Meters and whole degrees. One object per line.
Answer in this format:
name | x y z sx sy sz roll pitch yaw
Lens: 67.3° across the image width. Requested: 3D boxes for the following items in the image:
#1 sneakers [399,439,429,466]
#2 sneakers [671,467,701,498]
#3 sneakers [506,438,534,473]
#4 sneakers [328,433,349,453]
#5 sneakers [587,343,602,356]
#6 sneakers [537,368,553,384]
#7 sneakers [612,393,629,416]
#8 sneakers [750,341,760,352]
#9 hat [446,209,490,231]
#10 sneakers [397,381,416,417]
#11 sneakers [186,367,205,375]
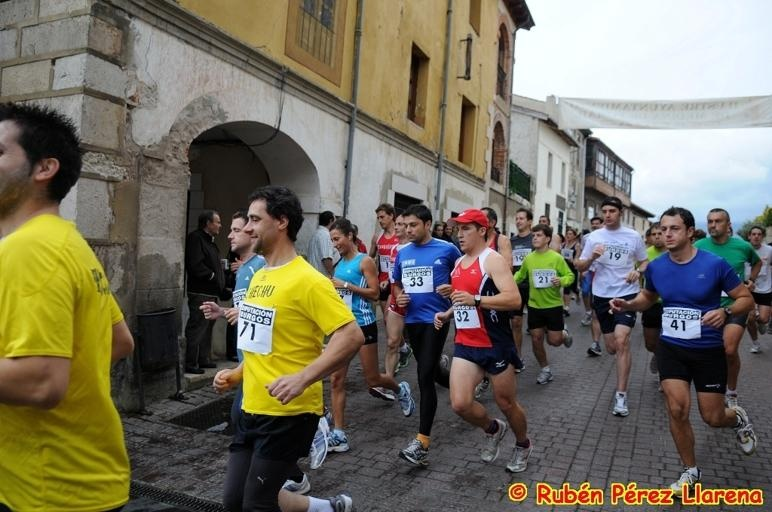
sneakers | 0.257 1.865 5.513 0.150 0.192 0.369 -4 -29 41
sneakers | 2.640 1.974 5.105 0.382 0.194 0.132 -8 3 -29
sneakers | 1.281 1.917 5.578 0.146 0.196 0.384 -8 11 37
sneakers | -0.480 1.875 5.781 0.266 0.128 0.105 6 -9 -14
sneakers | 3.677 1.652 10.195 0.136 0.186 0.371 -9 -24 33
sneakers | 2.303 1.746 8.436 0.138 0.170 0.372 -7 -6 37
sneakers | 2.813 1.811 6.964 0.129 0.149 0.345 -4 -6 24
sneakers | 6.870 1.695 10.797 0.126 0.160 0.343 -4 2 8
hat | 0.821 -0.383 5.681 0.344 0.180 0.227 4 -3 0
sneakers | 0.234 1.712 6.870 0.147 0.469 0.205 -12 0 33
sneakers | -2.540 1.542 7.774 0.240 0.095 0.090 0 -3 4
